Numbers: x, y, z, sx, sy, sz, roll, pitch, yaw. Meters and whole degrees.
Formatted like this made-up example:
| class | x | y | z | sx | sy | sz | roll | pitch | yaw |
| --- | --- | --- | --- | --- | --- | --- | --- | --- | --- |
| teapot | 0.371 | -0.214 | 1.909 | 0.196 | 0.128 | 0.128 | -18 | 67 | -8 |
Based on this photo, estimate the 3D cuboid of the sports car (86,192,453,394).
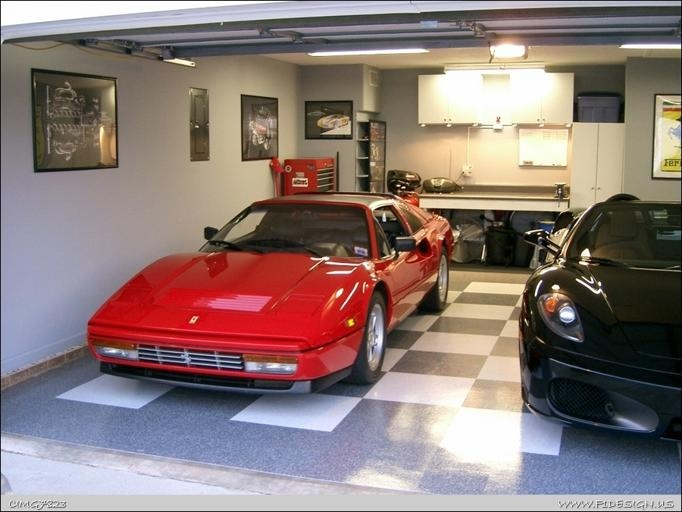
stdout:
| class | x | y | z | sx | sy | sz | roll | pitch | yaw |
| --- | --- | --- | --- | --- | --- | --- | --- | --- | --- |
| sports car | -0.289 | 0.077 | 4.041 | 1.652 | 0.798 | 2.828 | 2 | 10 | 19 |

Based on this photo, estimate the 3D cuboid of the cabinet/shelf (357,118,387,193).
| class | x | y | z | sx | sy | sz | roll | pitch | yaw |
| --- | --- | --- | --- | --- | --- | --- | --- | --- | --- |
| cabinet/shelf | 0.614 | -2.055 | 9.516 | 0.483 | 1.515 | 1.167 | 0 | 12 | 14 |

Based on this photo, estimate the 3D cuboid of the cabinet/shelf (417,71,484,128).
| class | x | y | z | sx | sy | sz | roll | pitch | yaw |
| --- | --- | --- | --- | --- | --- | --- | --- | --- | --- |
| cabinet/shelf | 2.401 | -3.174 | 9.393 | 1.444 | 0.942 | 0.820 | 17 | 29 | 39 |

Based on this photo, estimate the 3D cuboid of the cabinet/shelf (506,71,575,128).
| class | x | y | z | sx | sy | sz | roll | pitch | yaw |
| --- | --- | --- | --- | --- | --- | --- | --- | --- | --- |
| cabinet/shelf | 3.776 | -2.968 | 8.691 | 1.391 | 1.061 | 0.515 | 2 | 8 | 14 |
